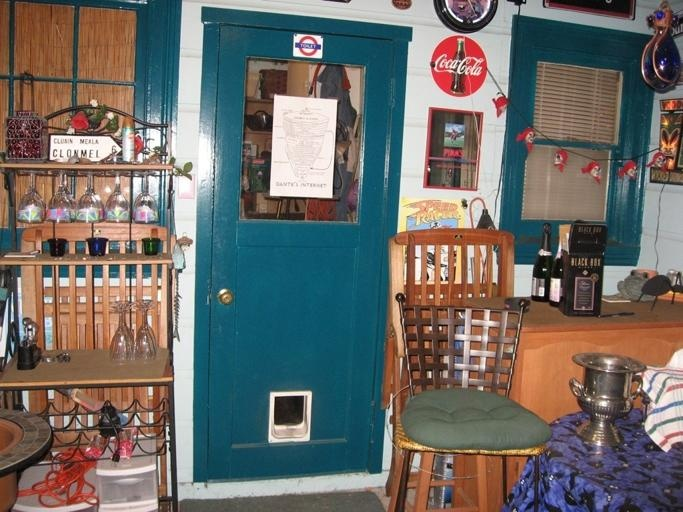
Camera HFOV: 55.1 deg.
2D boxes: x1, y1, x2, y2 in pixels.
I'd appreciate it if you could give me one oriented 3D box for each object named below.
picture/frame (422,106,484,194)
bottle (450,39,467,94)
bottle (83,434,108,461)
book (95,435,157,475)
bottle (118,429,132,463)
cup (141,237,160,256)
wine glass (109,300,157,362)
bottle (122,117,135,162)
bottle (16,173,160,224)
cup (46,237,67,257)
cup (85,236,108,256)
[{"bbox_3d":[0.653,-0.654,3.900,0.469,0.660,0.023,2,7,-19],"label":"picture/frame"},{"bbox_3d":[0.693,-1.111,3.850,0.088,0.317,0.034,0,1,-4],"label":"bottle"},{"bbox_3d":[-1.257,0.978,3.343,0.065,0.055,0.096,25,40,-13],"label":"bottle"},{"bbox_3d":[-1.090,1.028,3.320,0.198,0.051,0.203,-1,7,-23],"label":"book"},{"bbox_3d":[-1.113,0.966,3.357,0.055,0.176,0.067,2,-20,-27],"label":"bottle"},{"bbox_3d":[-0.995,-0.054,3.396,0.085,0.073,0.088,4,10,-1],"label":"cup"},{"bbox_3d":[-1.090,0.393,3.409,0.280,0.389,0.149,-1,2,-26],"label":"wine glass"},{"bbox_3d":[-1.089,-0.578,3.334,0.062,0.210,0.050,0,1,-20],"label":"bottle"},{"bbox_3d":[-1.330,-0.253,3.350,0.374,0.156,0.390,2,2,0],"label":"bottle"},{"bbox_3d":[-1.445,-0.045,3.330,0.101,0.084,0.102,3,3,0],"label":"cup"},{"bbox_3d":[-1.251,-0.053,3.325,0.090,0.081,0.093,3,4,0],"label":"cup"}]
